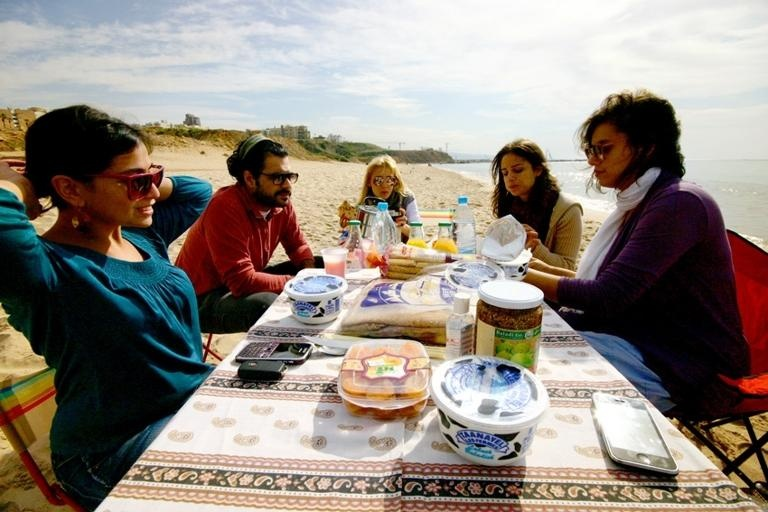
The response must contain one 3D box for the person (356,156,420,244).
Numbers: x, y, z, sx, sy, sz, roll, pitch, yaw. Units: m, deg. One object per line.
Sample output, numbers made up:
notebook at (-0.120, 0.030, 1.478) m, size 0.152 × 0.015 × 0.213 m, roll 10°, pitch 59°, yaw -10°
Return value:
person at (0.020, -0.565, 5.060) m, size 0.830 × 0.934 × 0.794 m, roll 5°, pitch 15°, yaw 20°
